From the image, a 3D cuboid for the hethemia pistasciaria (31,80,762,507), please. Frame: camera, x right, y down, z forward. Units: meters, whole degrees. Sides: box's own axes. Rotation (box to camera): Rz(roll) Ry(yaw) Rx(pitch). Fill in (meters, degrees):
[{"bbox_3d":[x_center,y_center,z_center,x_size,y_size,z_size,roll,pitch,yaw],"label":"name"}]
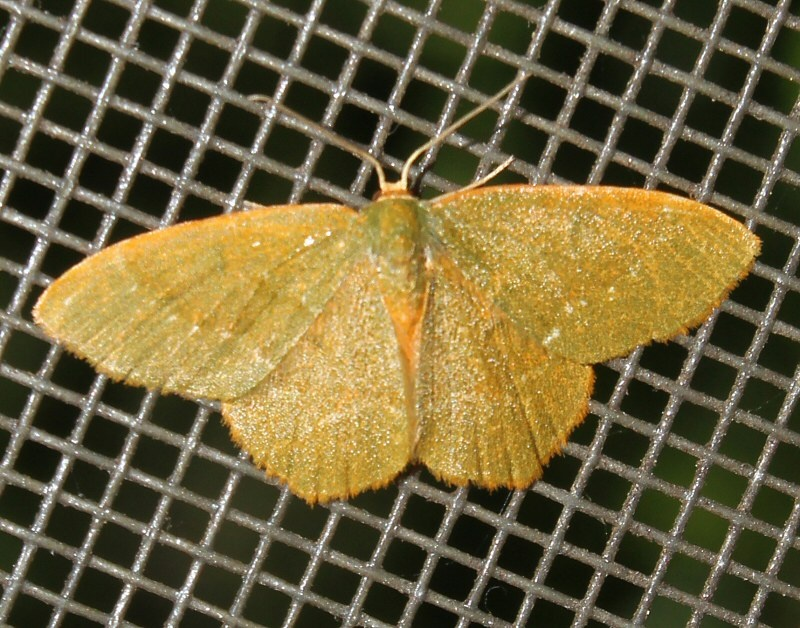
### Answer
[{"bbox_3d":[0.007,-0.058,4.167,2.527,1.603,0.318,-1,1,-2],"label":"hethemia pistasciaria"}]
